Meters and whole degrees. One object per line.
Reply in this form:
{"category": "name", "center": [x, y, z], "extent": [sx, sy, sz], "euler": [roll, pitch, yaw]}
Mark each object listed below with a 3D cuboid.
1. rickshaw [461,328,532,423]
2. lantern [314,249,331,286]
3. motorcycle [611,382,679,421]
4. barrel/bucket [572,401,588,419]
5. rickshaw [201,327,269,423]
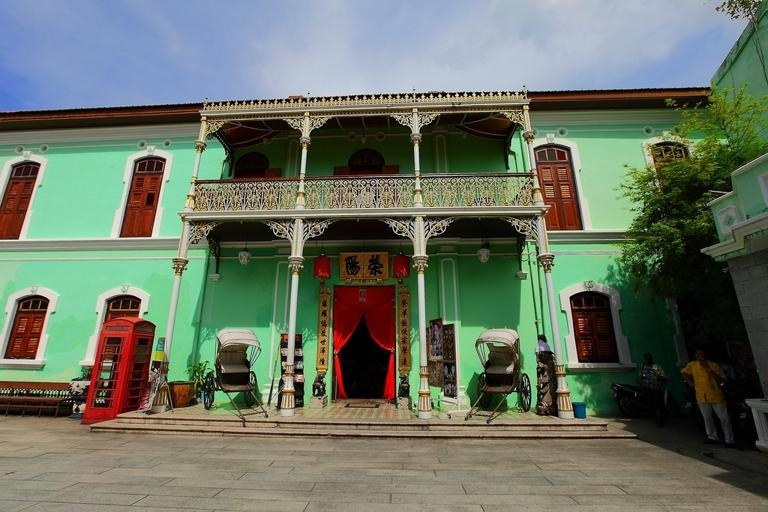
{"category": "rickshaw", "center": [3.634, 3.328, 12.808], "extent": [1.846, 2.730, 2.437], "euler": [0, -5, 0]}
{"category": "lantern", "center": [-1.973, 0.366, 14.510], "extent": [0.518, 1.118, 0.410], "euler": [-1, -19, 4]}
{"category": "motorcycle", "center": [7.737, 4.272, 13.262], "extent": [1.962, 1.097, 0.894], "euler": [-1, -15, 13]}
{"category": "barrel/bucket", "center": [5.369, 4.218, 12.371], "extent": [0.491, 0.450, 0.542], "euler": [-3, -18, 6]}
{"category": "rickshaw", "center": [-4.213, 3.347, 12.940], "extent": [1.643, 2.617, 2.367], "euler": [6, -19, -18]}
